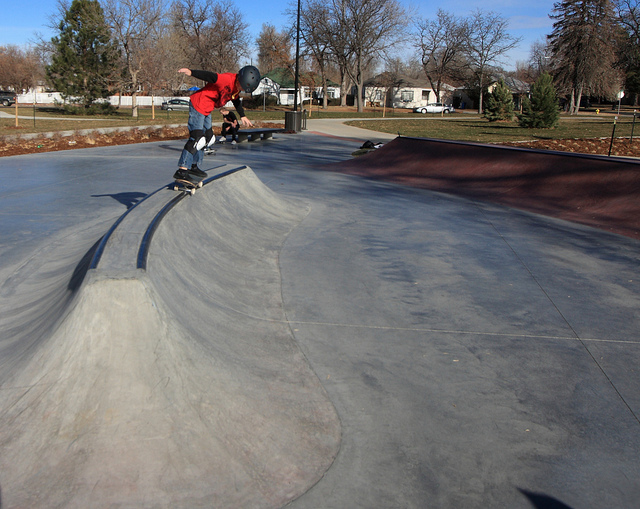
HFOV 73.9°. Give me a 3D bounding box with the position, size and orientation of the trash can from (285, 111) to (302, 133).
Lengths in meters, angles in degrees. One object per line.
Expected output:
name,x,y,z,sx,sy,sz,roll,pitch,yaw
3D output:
trash can,-1.743,-7.850,25.123,1.270,1.270,1.207,5,11,8

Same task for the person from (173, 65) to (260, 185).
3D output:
person,-1.470,-1.800,5.894,1.152,1.535,1.183,-6,17,-14
